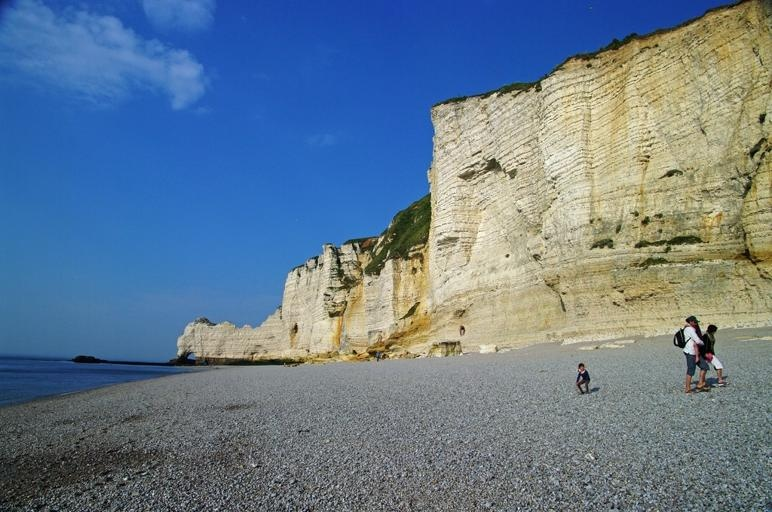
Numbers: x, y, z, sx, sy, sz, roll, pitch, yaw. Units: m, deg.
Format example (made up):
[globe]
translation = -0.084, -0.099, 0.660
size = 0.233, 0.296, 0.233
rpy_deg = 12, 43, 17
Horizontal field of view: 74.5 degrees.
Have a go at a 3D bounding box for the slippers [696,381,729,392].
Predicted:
[slippers]
translation = 9.699, 3.910, 15.040
size = 0.613, 0.266, 0.209
rpy_deg = -12, 5, 1

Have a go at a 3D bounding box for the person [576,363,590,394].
[person]
translation = 6.313, 3.919, 16.137
size = 0.373, 1.107, 0.664
rpy_deg = 2, 14, 21
